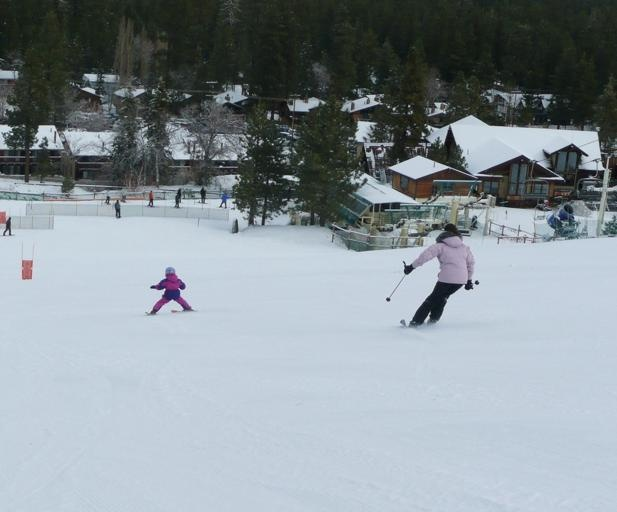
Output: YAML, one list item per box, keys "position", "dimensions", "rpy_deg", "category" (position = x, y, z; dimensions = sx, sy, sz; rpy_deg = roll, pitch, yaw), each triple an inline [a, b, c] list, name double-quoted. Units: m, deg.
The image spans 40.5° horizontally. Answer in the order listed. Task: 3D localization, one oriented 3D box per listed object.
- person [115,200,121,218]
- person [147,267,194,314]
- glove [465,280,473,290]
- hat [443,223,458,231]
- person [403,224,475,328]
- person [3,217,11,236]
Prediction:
- position: [-10.152, -2.449, 44.374]
  dimensions: [0.299, 0.927, 1.336]
  rpy_deg: [-3, 12, -14]
  category: "person"
- position: [-3.059, 0.779, 18.711]
  dimensions: [1.060, 1.046, 0.481]
  rpy_deg: [-3, 11, -28]
  category: "person"
- position: [3.036, 0.536, 15.768]
  dimensions: [0.083, 0.229, 0.168]
  rpy_deg: [-4, 32, -3]
  category: "glove"
- position: [2.650, -0.573, 15.552]
  dimensions: [0.164, 0.231, 0.219]
  rpy_deg: [-3, -7, 36]
  category: "hat"
- position: [2.500, 0.356, 15.580]
  dimensions: [0.933, 1.922, 0.957]
  rpy_deg: [7, 13, 34]
  category: "person"
- position: [-13.580, -1.335, 37.524]
  dimensions: [0.374, 0.903, 1.582]
  rpy_deg: [-5, 12, -20]
  category: "person"
